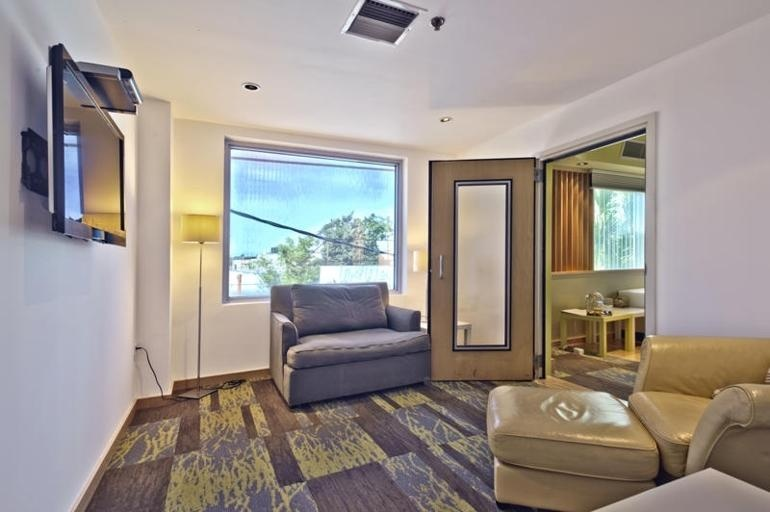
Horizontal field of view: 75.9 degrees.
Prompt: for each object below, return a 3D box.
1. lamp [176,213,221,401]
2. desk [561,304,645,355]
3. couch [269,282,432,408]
[{"bbox_3d":[-1.854,0.470,4.937,0.499,1.764,0.776,-5,15,-17],"label":"lamp"},{"bbox_3d":[2.780,0.994,6.477,0.831,0.409,0.633,2,-1,-39],"label":"desk"},{"bbox_3d":[-0.401,0.857,5.218,1.533,1.072,1.139,-2,2,-20],"label":"couch"}]
